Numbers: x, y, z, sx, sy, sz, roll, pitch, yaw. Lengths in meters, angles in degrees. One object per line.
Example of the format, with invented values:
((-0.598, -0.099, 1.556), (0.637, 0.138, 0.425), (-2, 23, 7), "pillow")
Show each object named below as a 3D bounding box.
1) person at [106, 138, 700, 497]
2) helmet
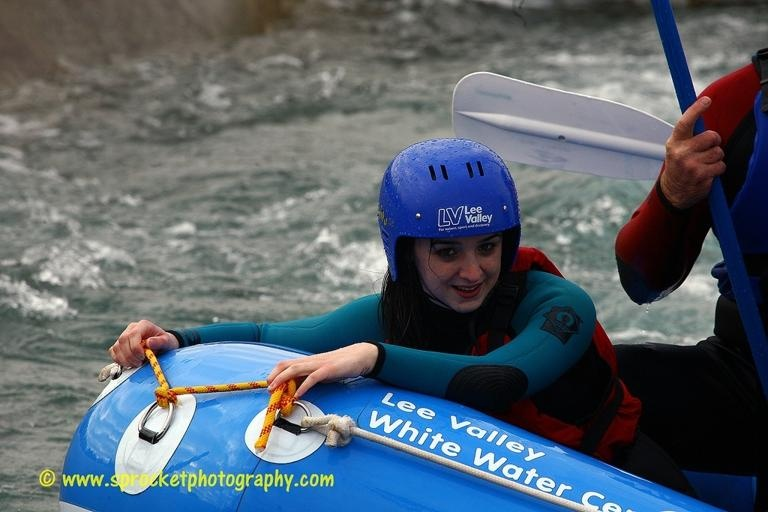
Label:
((0.342, 0.342, 5.092), (1.705, 2.025, 0.981), (-1, 83, 0), "person")
((0.250, -0.252, 4.267), (0.484, 0.413, 0.568), (-5, 5, -15), "helmet")
